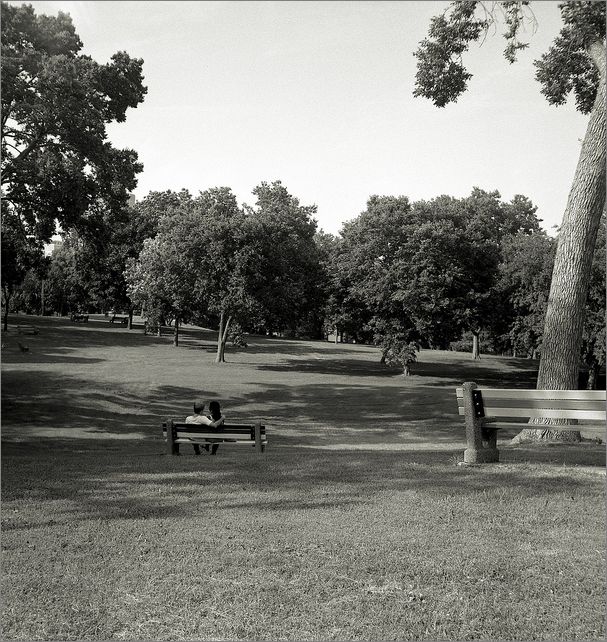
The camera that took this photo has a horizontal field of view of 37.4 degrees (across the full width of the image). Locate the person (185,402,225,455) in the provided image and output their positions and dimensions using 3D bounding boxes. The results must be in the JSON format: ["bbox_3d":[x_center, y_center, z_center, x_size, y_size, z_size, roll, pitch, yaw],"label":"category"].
[{"bbox_3d":[-1.788,1.997,16.417,1.053,0.760,0.454,0,3,-12],"label":"person"}]
